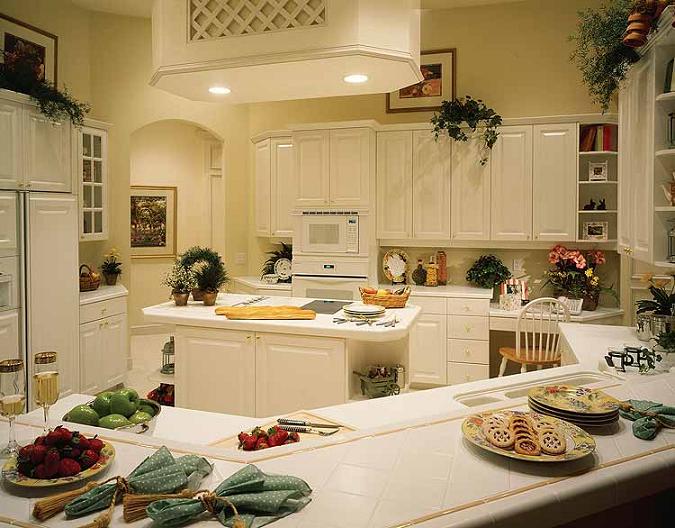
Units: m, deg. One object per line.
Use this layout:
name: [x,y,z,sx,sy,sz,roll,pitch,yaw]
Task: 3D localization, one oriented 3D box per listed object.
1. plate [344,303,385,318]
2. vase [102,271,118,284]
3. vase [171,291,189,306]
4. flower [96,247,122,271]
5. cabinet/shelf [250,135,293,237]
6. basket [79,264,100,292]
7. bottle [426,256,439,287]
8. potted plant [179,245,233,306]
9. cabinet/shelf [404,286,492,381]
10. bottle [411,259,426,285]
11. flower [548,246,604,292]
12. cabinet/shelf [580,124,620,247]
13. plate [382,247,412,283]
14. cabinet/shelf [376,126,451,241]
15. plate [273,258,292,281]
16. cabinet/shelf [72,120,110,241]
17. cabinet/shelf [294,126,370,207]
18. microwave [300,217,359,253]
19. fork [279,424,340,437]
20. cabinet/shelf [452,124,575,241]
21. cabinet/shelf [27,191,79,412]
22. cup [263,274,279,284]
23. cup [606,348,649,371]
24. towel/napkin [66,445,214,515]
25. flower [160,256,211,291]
plate: [0.163,0.300,2.975,0.245,0.062,0.128,1,7,10]
vase: [-2.324,0.144,4.883,0.142,0.142,0.135,-4,8,-24]
vase: [-1.130,0.240,3.416,0.105,0.100,0.127,-4,8,-24]
flower: [-2.348,-0.044,4.941,0.229,0.233,0.234,-3,-5,41]
cabinet/shelf: [-0.760,-0.882,5.476,0.176,1.117,0.589,-7,9,-41]
basket: [-2.473,0.142,4.617,0.214,0.268,0.293,-1,-2,-2]
bottle: [0.991,0.074,4.997,0.118,0.282,0.293,1,7,12]
potted plant: [-0.978,0.069,3.511,0.303,0.400,0.336,-8,10,-44]
cabinet/shelf: [1.115,0.708,4.781,0.871,1.156,0.577,1,12,21]
bottle: [0.867,0.084,5.075,0.151,0.256,0.213,0,7,9]
flower: [2.245,0.016,4.513,0.367,0.373,0.342,-7,23,31]
cabinet/shelf: [2.421,-0.745,4.455,0.404,1.078,0.263,0,1,13]
plate: [0.636,0.023,5.165,0.293,0.372,0.150,0,7,8]
cabinet/shelf: [0.815,-0.821,5.004,0.776,1.207,0.416,2,19,16]
plate: [-0.625,0.066,5.377,0.182,0.255,0.099,-1,7,-6]
cabinet/shelf: [-2.273,-0.766,4.411,0.136,1.078,0.425,-1,7,1]
cabinet/shelf: [-0.096,-1.004,4.910,0.877,0.839,0.374,-5,21,-12]
microwave: [-0.065,-0.307,4.968,0.619,0.417,0.384,1,3,10]
fork: [-0.094,0.570,1.689,0.197,0.019,0.074,2,-1,7]
cabinet/shelf: [1.732,-0.798,4.559,1.071,1.045,0.350,1,1,18]
cabinet/shelf: [-2.288,0.244,3.904,0.376,1.617,0.212,3,6,-6]
cup: [-0.753,0.162,5.335,0.176,0.084,0.119,-2,7,-11]
cup: [1.381,0.447,2.254,0.131,0.074,0.184,-2,4,2]
towel/napkin: [-0.494,0.544,1.193,0.212,0.059,0.136,-3,2,-35]
flower: [-1.269,0.085,3.921,0.411,0.326,0.326,3,10,-14]
